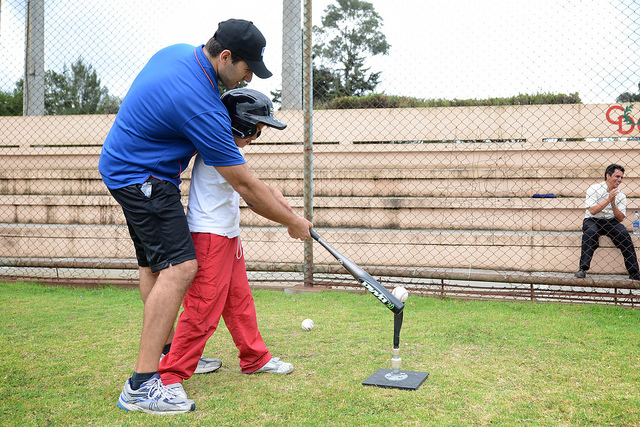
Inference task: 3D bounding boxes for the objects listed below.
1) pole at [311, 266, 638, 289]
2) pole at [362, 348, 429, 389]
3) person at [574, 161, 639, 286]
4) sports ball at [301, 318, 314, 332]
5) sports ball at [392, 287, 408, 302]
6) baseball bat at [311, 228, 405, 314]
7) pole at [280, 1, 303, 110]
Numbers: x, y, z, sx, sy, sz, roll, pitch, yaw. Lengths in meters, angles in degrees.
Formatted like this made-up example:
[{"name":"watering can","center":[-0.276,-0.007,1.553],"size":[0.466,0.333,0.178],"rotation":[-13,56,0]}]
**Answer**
[{"name":"pole","center":[1.978,0.715,6.307],"size":[2.824,0.141,0.250],"rotation":[1,4,11]},{"name":"pole","center":[0.601,1.172,4.429],"size":[0.504,0.228,0.511],"rotation":[0,1,35]},{"name":"person","center":[3.335,0.085,6.589],"size":[0.664,1.295,1.260],"rotation":[2,5,24]},{"name":"sports ball","center":[-0.117,1.052,5.382],"size":[0.100,0.098,0.099],"rotation":[6,-35,4]},{"name":"sports ball","center":[0.636,0.614,4.413],"size":[0.102,0.104,0.105],"rotation":[9,14,-2]},{"name":"baseball bat","center":[0.426,0.648,6.229],"size":[1.233,0.137,0.139],"rotation":[38,-24,13]},{"name":"pole","center":[-0.419,-2.240,8.033],"size":[0.284,1.573,0.402],"rotation":[-1,4,-6]}]
